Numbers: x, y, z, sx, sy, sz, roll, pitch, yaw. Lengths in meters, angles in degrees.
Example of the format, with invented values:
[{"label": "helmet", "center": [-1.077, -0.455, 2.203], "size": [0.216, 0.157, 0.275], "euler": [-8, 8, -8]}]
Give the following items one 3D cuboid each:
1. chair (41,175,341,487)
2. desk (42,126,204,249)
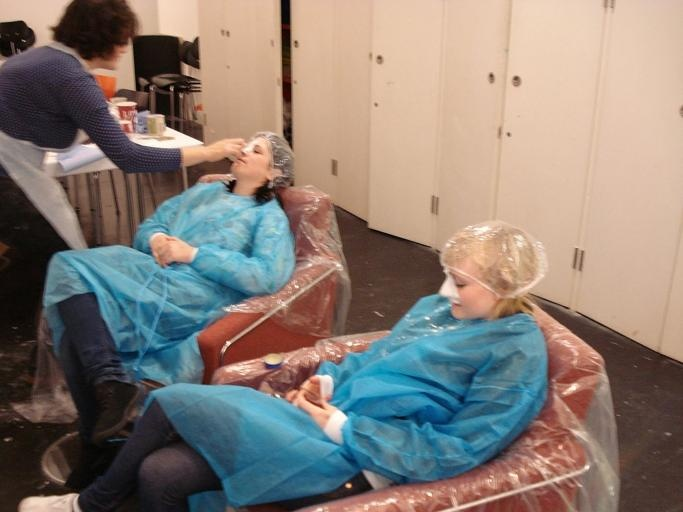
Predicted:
[{"label": "chair", "center": [-0.663, 0.171, 2.838], "size": [1.132, 1.382, 1.326], "euler": [21, 32, 35]}, {"label": "desk", "center": [-1.314, -0.387, 3.163], "size": [0.929, 0.543, 1.143], "euler": [-7, 20, -19]}]
